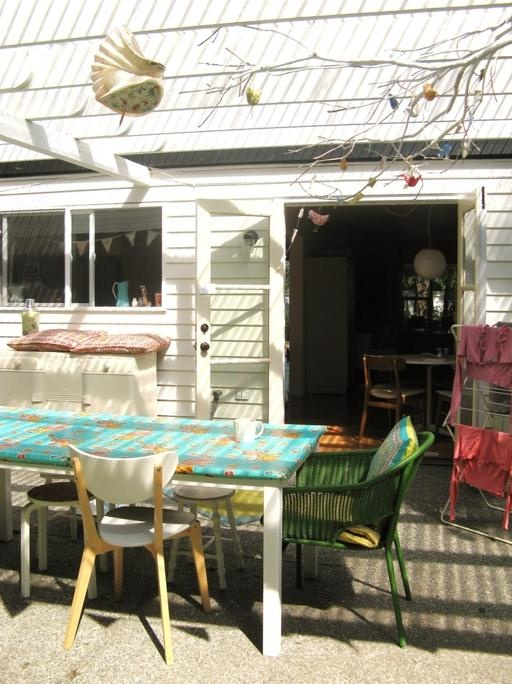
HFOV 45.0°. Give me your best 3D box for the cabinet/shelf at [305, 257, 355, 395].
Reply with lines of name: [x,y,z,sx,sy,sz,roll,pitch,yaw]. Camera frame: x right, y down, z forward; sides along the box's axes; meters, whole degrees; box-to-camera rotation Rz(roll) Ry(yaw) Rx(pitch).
cabinet/shelf: [1.099,-0.244,9.662,0.761,2.237,2.197,0,-2,9]

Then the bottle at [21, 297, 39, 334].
bottle: [-2.027,-0.221,5.511,0.143,0.330,0.337,0,3,-20]

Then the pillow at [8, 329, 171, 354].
pillow: [-1.364,0.013,5.066,0.737,0.117,0.486,1,5,9]

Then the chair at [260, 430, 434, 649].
chair: [0.434,0.767,2.627,0.594,0.764,0.618,1,3,10]

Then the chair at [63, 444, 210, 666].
chair: [-0.440,0.789,2.435,0.557,0.719,0.579,0,-3,7]

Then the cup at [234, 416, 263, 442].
cup: [-0.040,0.398,2.809,0.086,0.082,0.125,-5,-9,31]

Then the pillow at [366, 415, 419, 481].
pillow: [0.548,0.426,2.450,0.084,0.262,0.279,26,-5,5]

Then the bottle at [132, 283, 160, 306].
bottle: [-0.990,-0.405,5.478,0.289,0.189,0.067,2,3,28]

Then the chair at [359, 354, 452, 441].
chair: [1.552,0.577,6.405,0.754,1.021,0.757,-10,9,-39]

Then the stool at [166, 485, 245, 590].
stool: [-0.250,0.923,2.959,0.343,0.408,0.321,0,0,8]
